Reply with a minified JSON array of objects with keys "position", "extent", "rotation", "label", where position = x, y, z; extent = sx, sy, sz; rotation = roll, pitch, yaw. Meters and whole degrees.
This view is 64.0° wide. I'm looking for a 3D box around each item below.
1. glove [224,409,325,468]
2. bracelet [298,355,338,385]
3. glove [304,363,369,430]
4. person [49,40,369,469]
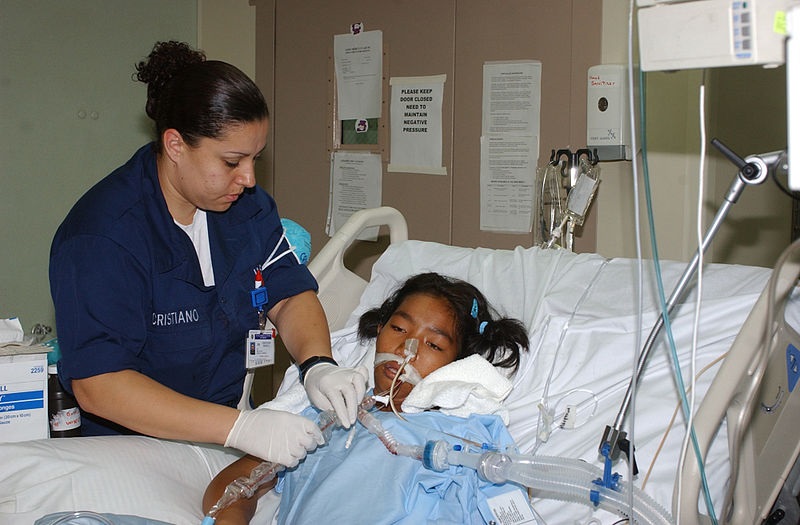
[{"position":[-0.402,0.588,2.090],"extent":[0.310,0.220,0.139],"rotation":[-2,3,-6],"label":"glove"},{"position":[-0.306,0.359,2.279],"extent":[0.090,0.044,0.114],"rotation":[-15,25,0],"label":"bracelet"},{"position":[-0.225,0.436,2.202],"extent":[0.160,0.215,0.066],"rotation":[-28,-25,-18],"label":"glove"},{"position":[-0.684,-0.009,2.236],"extent":[0.884,1.296,0.576],"rotation":[-2,3,-6],"label":"person"}]
